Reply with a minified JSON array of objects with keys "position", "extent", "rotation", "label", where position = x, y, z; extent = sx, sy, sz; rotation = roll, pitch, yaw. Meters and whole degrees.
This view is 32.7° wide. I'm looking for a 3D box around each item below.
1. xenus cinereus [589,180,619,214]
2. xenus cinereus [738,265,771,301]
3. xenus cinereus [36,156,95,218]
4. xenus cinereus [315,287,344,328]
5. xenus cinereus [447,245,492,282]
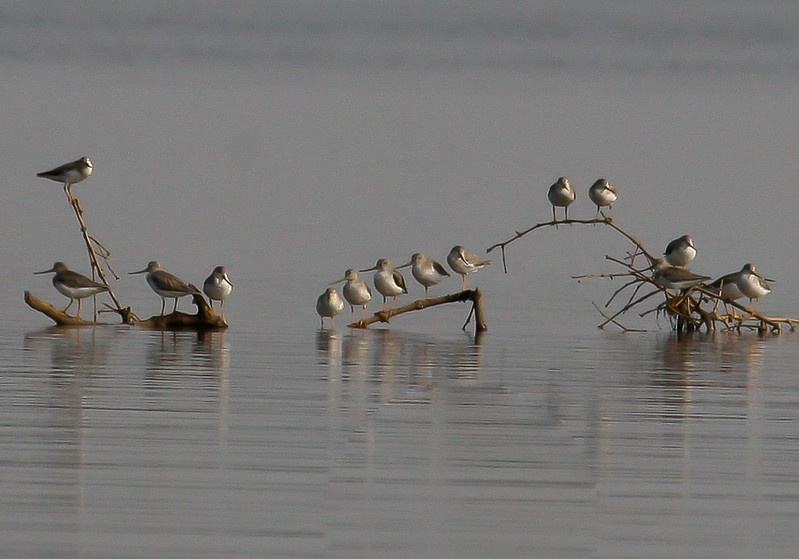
[{"position":[2.171,-0.853,14.437],"extent":[0.293,0.358,0.517],"rotation":[9,7,24],"label":"xenus cinereus"},{"position":[3.607,0.024,13.929],"extent":[0.316,0.355,0.250],"rotation":[4,14,12],"label":"xenus cinereus"},{"position":[-3.310,-1.028,13.666],"extent":[0.612,0.440,0.252],"rotation":[8,10,15],"label":"xenus cinereus"},{"position":[-0.691,0.298,13.561],"extent":[0.311,0.383,0.562],"rotation":[5,2,-5],"label":"xenus cinereus"},{"position":[0.821,-0.135,16.043],"extent":[0.314,0.420,0.707],"rotation":[12,23,35],"label":"xenus cinereus"}]
